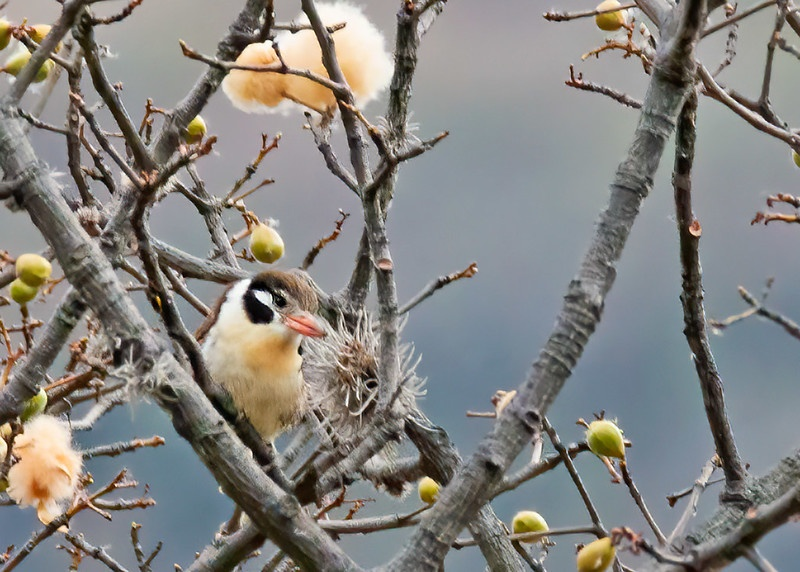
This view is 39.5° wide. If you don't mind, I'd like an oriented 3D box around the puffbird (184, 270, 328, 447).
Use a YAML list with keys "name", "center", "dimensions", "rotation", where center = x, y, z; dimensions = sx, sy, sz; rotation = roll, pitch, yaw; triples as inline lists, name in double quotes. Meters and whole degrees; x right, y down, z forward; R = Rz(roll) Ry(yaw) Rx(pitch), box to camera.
- name: "puffbird"
  center: [-0.415, 0.193, 2.996]
  dimensions: [0.345, 0.490, 0.506]
  rotation: [11, -5, -41]

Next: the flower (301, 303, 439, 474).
- name: "flower"
  center: [-0.136, 0.226, 2.817]
  dimensions: [0.211, 0.400, 0.342]
  rotation: [-30, -26, 27]
